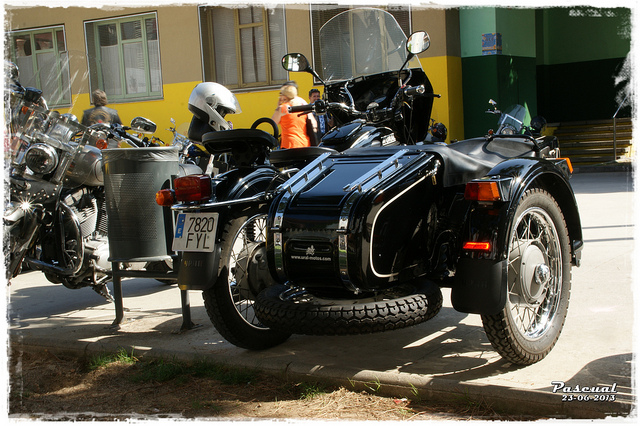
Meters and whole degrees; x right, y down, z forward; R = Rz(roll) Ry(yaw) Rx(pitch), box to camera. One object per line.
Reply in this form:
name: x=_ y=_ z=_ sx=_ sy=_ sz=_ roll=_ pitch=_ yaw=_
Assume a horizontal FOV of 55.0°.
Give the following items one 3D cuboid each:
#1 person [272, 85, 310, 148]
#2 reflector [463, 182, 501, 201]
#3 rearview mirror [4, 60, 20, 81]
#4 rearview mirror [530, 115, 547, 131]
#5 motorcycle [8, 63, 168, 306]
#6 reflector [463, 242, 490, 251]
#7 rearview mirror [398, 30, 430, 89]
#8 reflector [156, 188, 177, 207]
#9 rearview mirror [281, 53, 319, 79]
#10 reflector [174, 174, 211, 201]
person: x=-0.426 y=-1.473 z=9.388 sx=0.702 sy=0.728 sz=1.091 roll=-3 pitch=9 yaw=11
reflector: x=1.323 y=-0.175 z=5.000 sx=0.279 sy=0.158 sz=0.053 roll=1 pitch=14 yaw=21
rearview mirror: x=-3.313 y=-1.538 z=6.613 sx=0.294 sy=0.236 sz=0.101 roll=15 pitch=8 yaw=44
rearview mirror: x=3.573 y=-1.464 z=10.088 sx=0.211 sy=0.152 sz=0.285 roll=8 pitch=-16 yaw=28
motorcycle: x=-2.873 y=-0.200 z=6.898 sx=1.126 sy=2.514 sz=0.948 roll=-7 pitch=14 yaw=-13
reflector: x=1.267 y=0.263 z=4.985 sx=0.211 sy=0.060 sz=0.042 roll=1 pitch=15 yaw=23
rearview mirror: x=0.946 y=-1.557 z=6.158 sx=0.184 sy=0.470 sz=0.275 roll=0 pitch=-1 yaw=-20
reflector: x=-1.399 y=-0.143 z=5.661 sx=0.132 sy=0.142 sz=0.169 roll=1 pitch=-14 yaw=-19
rearview mirror: x=-0.194 y=-1.567 z=6.541 sx=0.372 sy=0.224 sz=0.098 roll=34 pitch=12 yaw=-1
reflector: x=-1.170 y=-0.228 z=5.765 sx=0.221 sy=0.312 sz=0.426 roll=-5 pitch=-1 yaw=4
